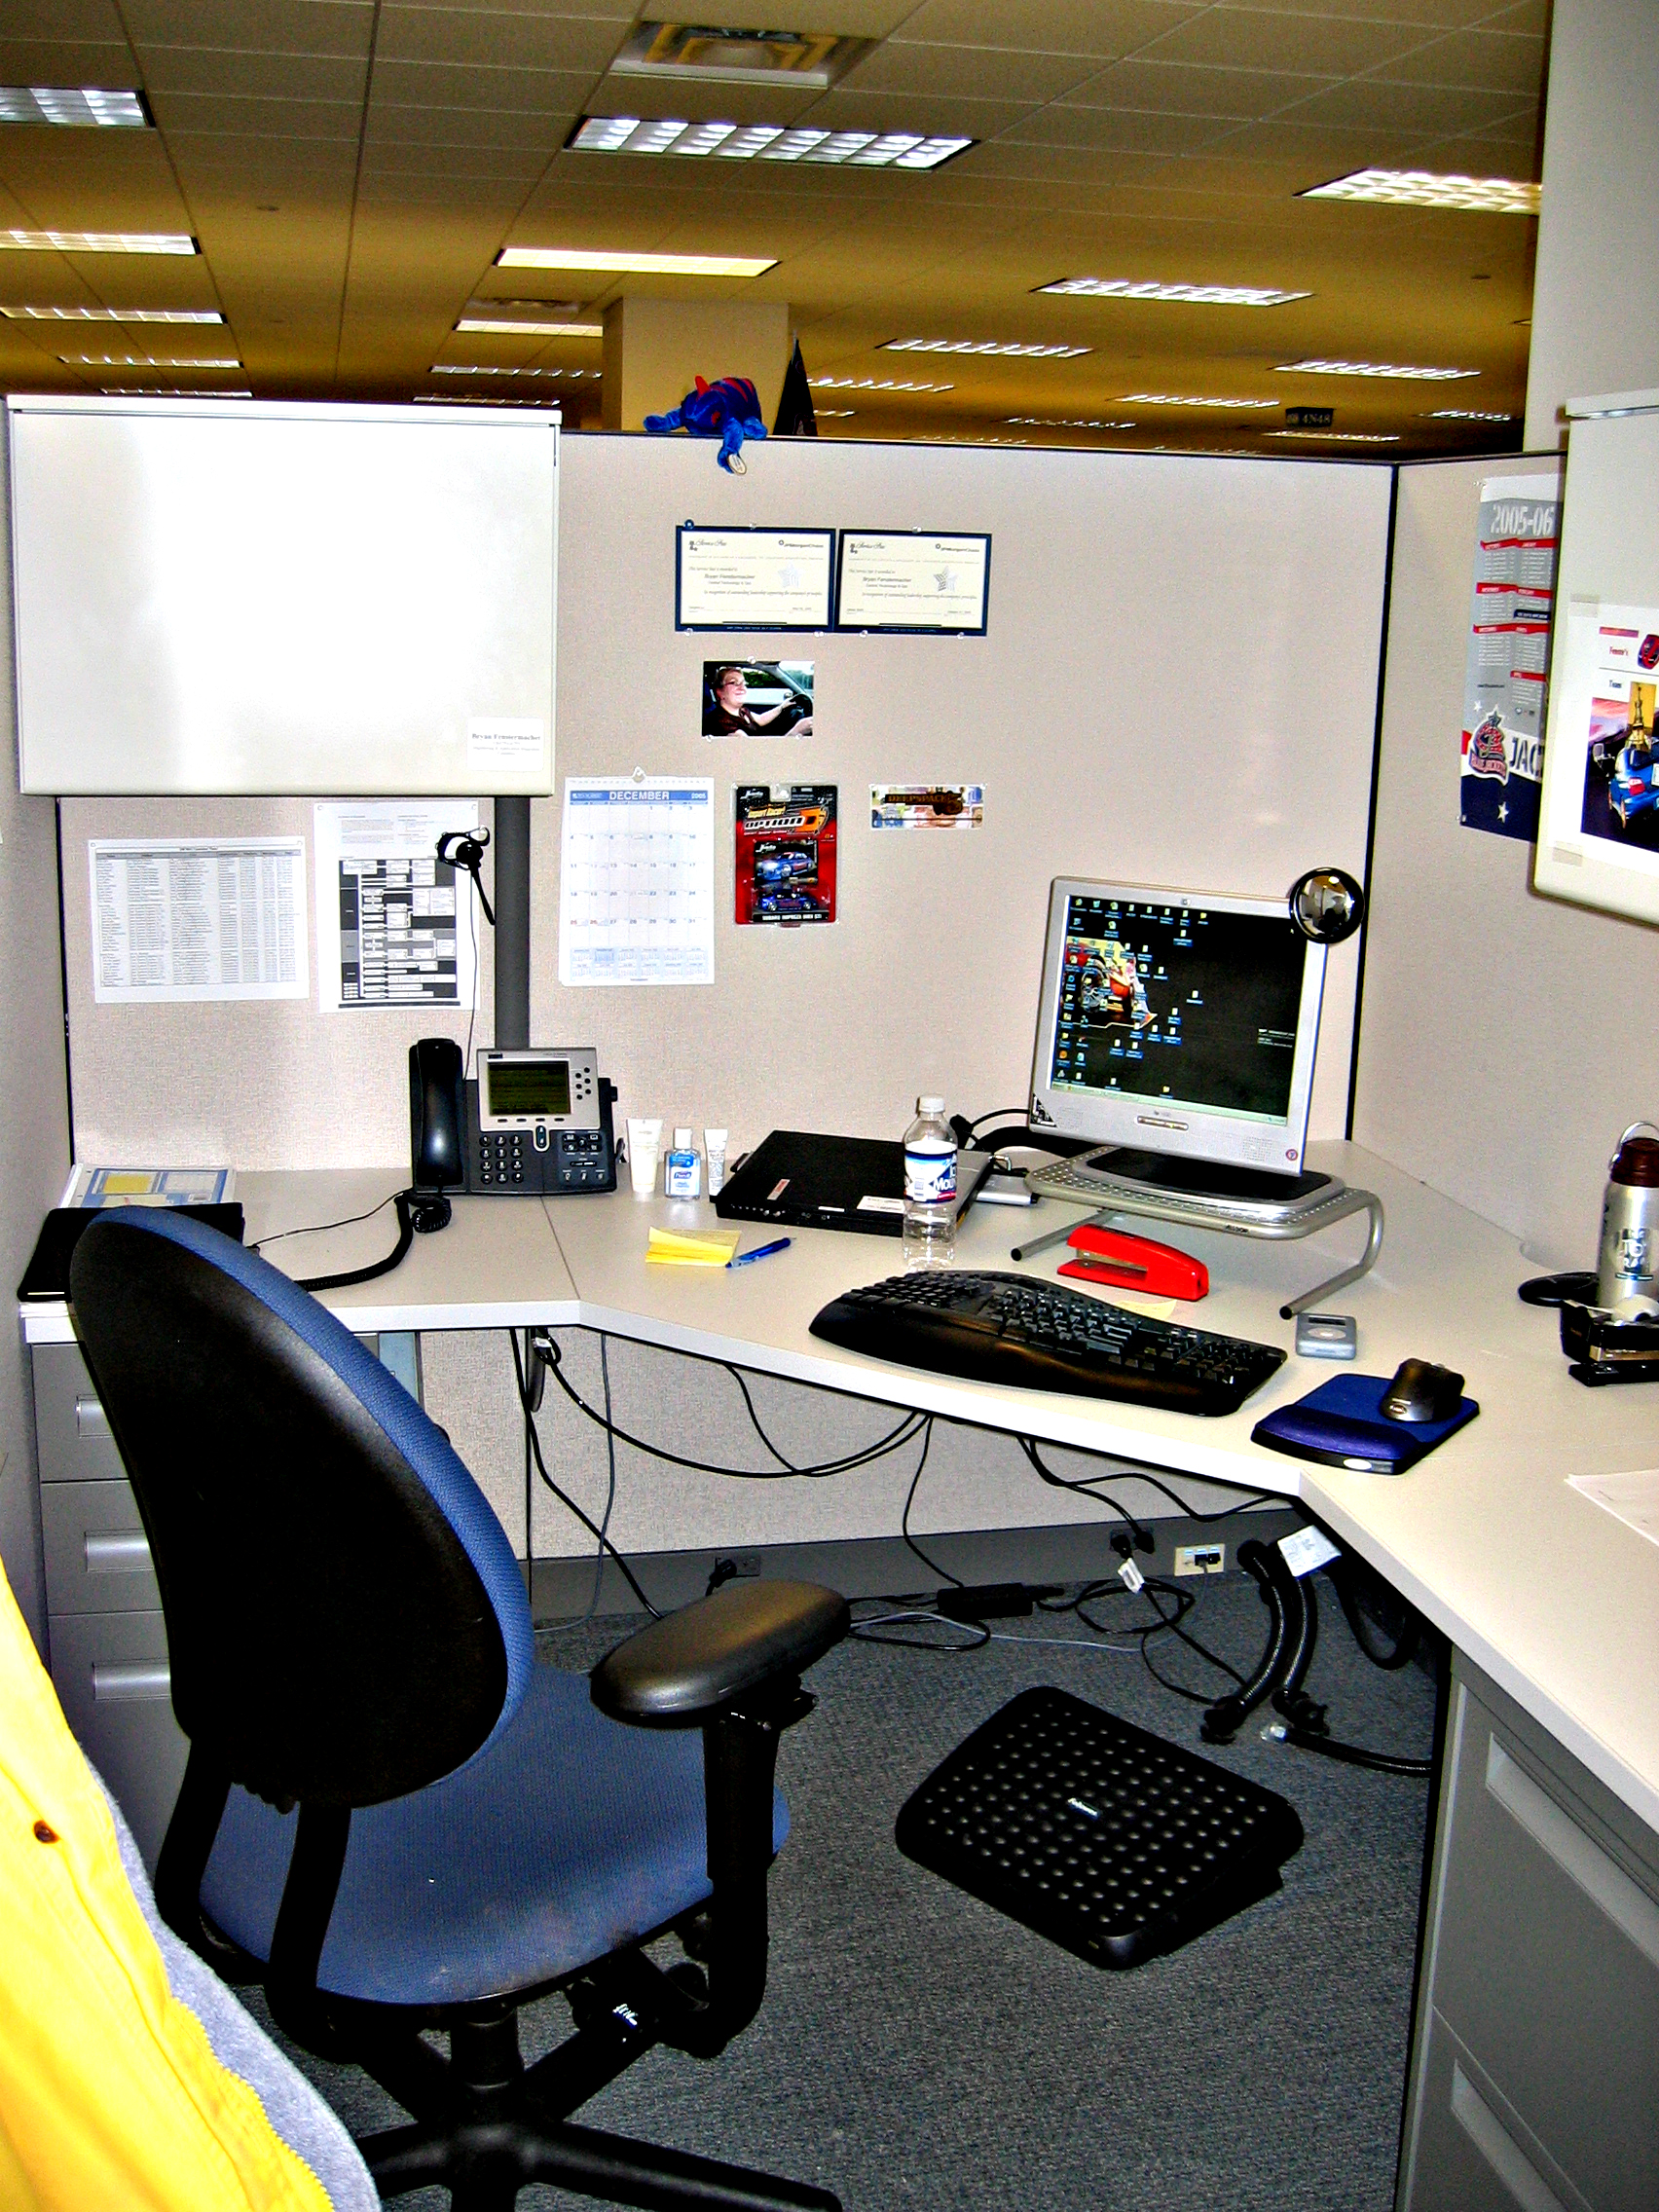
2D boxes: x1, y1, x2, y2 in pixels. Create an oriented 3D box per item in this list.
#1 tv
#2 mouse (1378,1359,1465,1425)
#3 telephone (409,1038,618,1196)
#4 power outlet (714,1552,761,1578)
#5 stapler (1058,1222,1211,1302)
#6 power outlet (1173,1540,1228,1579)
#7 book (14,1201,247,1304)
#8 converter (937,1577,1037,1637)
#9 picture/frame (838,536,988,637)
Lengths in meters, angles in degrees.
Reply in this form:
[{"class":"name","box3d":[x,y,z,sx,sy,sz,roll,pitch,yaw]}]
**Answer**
[{"class":"tv","box3d":[0.432,-0.064,2.089,0.373,0.388,0.208,11,21,34]},{"class":"mouse","box3d":[0.540,0.258,1.541,0.043,0.028,0.072,12,16,41]},{"class":"telephone","box3d":[-0.427,0.011,2.264,0.262,0.206,0.150,1,30,-5]},{"class":"power outlet","box3d":[-0.146,0.712,2.588,0.051,0.041,0.013,-4,-8,-9]},{"class":"stapler","box3d":[0.341,0.179,1.980,0.211,0.080,0.064,12,-2,42]},{"class":"power outlet","box3d":[0.596,0.727,2.684,0.095,0.065,0.052,-2,12,-10]},{"class":"book","box3d":[-0.548,0.114,1.284,0.114,0.028,0.109,0,10,-7]},{"class":"converter","box3d":[0.242,0.780,2.618,0.103,0.039,0.061,-2,22,-11]},{"class":"picture/frame","box3d":[0.105,-0.720,2.317,0.134,0.094,0.013,0,14,-9]}]
